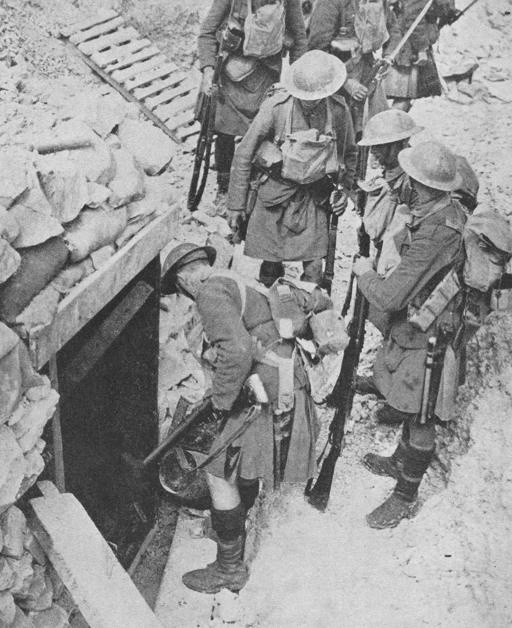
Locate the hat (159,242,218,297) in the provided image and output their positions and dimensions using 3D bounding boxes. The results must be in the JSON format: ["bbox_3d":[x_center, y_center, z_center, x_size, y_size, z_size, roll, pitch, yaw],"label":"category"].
[{"bbox_3d":[-0.274,-0.161,2.814,0.059,0.202,0.205,47,6,22],"label":"hat"}]

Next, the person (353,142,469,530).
[{"bbox_3d":[0.727,0.166,3.333,0.490,1.876,0.656,9,36,16],"label":"person"}]

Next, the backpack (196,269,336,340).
[{"bbox_3d":[0.007,-0.013,2.826,0.366,0.191,0.321,5,34,-15],"label":"backpack"}]

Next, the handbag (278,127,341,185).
[{"bbox_3d":[0.264,-0.778,3.646,0.225,0.294,0.117,3,26,-7],"label":"handbag"}]

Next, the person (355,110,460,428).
[{"bbox_3d":[0.693,-0.129,3.335,0.407,1.461,0.682,8,49,18],"label":"person"}]

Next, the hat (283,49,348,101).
[{"bbox_3d":[0.286,-1.180,3.542,0.312,0.147,0.342,-20,48,-12],"label":"hat"}]

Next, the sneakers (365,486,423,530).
[{"bbox_3d":[0.636,0.923,3.367,0.196,0.085,0.142,-36,46,-4],"label":"sneakers"}]

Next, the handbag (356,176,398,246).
[{"bbox_3d":[0.612,-0.507,3.666,0.088,0.312,0.366,2,4,7],"label":"handbag"}]

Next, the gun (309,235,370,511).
[{"bbox_3d":[0.404,0.342,3.504,0.076,1.322,0.189,21,-11,-43],"label":"gun"}]
